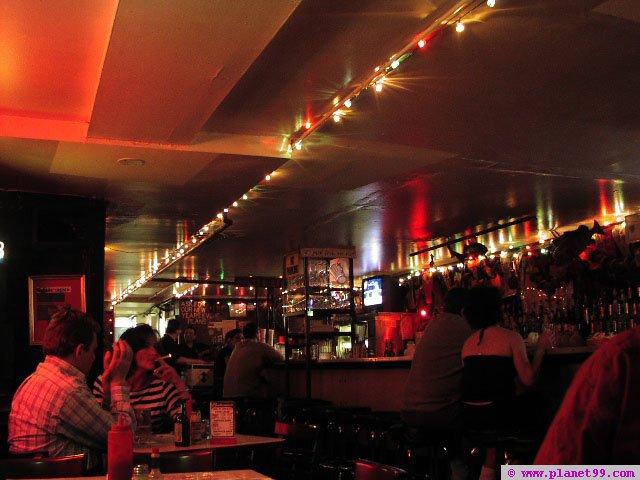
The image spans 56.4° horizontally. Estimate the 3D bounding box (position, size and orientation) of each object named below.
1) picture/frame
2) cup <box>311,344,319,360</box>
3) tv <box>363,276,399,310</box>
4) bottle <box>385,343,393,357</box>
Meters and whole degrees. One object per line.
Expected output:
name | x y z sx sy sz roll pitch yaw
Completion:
picture/frame | -2.873 0.742 6.529 0.042 0.764 0.630 -14 -13 40
cup | -0.044 1.555 8.366 0.133 0.249 0.132 1 -9 0
tv | 1.339 1.117 13.236 0.676 0.889 1.239 1 -7 -17
bottle | 1.200 1.855 10.246 0.155 0.220 0.361 -3 -12 6
